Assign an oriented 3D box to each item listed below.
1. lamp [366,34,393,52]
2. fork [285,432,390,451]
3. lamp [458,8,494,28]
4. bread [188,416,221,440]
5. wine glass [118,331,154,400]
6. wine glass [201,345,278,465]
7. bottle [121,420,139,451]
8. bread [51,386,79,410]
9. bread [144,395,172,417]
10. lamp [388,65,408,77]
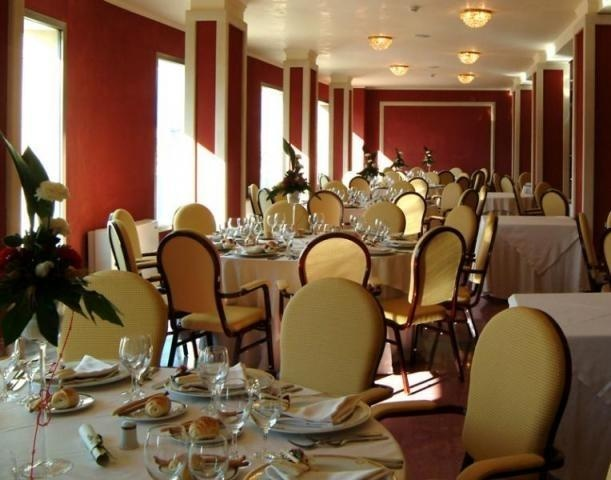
[{"bbox_3d":[1.438,-3.683,9.558,0.395,0.317,0.449,-3,11,-11],"label":"lamp"},{"bbox_3d":[0.085,0.570,1.432,0.242,0.047,0.040,-1,1,-5],"label":"fork"},{"bbox_3d":[2.801,-3.560,8.156,0.588,0.269,0.281,-1,2,-16],"label":"lamp"},{"bbox_3d":[-0.264,0.474,1.313,0.049,0.048,0.074,4,-6,19],"label":"bread"},{"bbox_3d":[-0.570,0.417,1.700,0.096,0.212,0.187,-1,2,-22],"label":"wine glass"},{"bbox_3d":[-0.198,0.457,1.494,0.197,0.418,0.251,-2,3,18],"label":"wine glass"},{"bbox_3d":[-0.483,0.531,1.394,0.045,0.066,0.075,-1,2,-21],"label":"bottle"},{"bbox_3d":[-0.752,0.498,1.585,0.051,0.052,0.061,6,-7,11],"label":"bread"},{"bbox_3d":[-0.450,0.506,1.547,0.078,0.050,0.070,-1,2,-24],"label":"bread"},{"bbox_3d":[2.365,-4.281,12.963,0.475,0.376,0.496,-9,14,-31],"label":"lamp"}]
